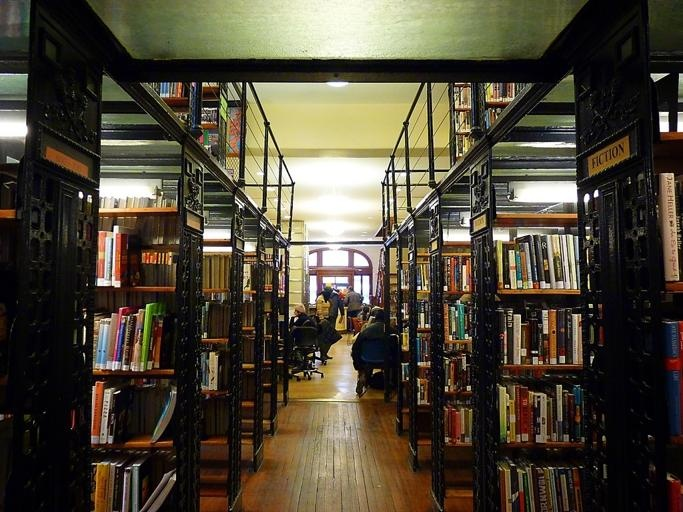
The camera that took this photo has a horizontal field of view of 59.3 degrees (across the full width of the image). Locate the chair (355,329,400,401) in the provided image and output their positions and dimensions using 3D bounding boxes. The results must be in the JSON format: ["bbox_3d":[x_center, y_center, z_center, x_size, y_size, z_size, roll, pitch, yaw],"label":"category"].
[{"bbox_3d":[0.426,1.402,7.981,0.620,0.968,0.873,0,-4,2],"label":"chair"}]
